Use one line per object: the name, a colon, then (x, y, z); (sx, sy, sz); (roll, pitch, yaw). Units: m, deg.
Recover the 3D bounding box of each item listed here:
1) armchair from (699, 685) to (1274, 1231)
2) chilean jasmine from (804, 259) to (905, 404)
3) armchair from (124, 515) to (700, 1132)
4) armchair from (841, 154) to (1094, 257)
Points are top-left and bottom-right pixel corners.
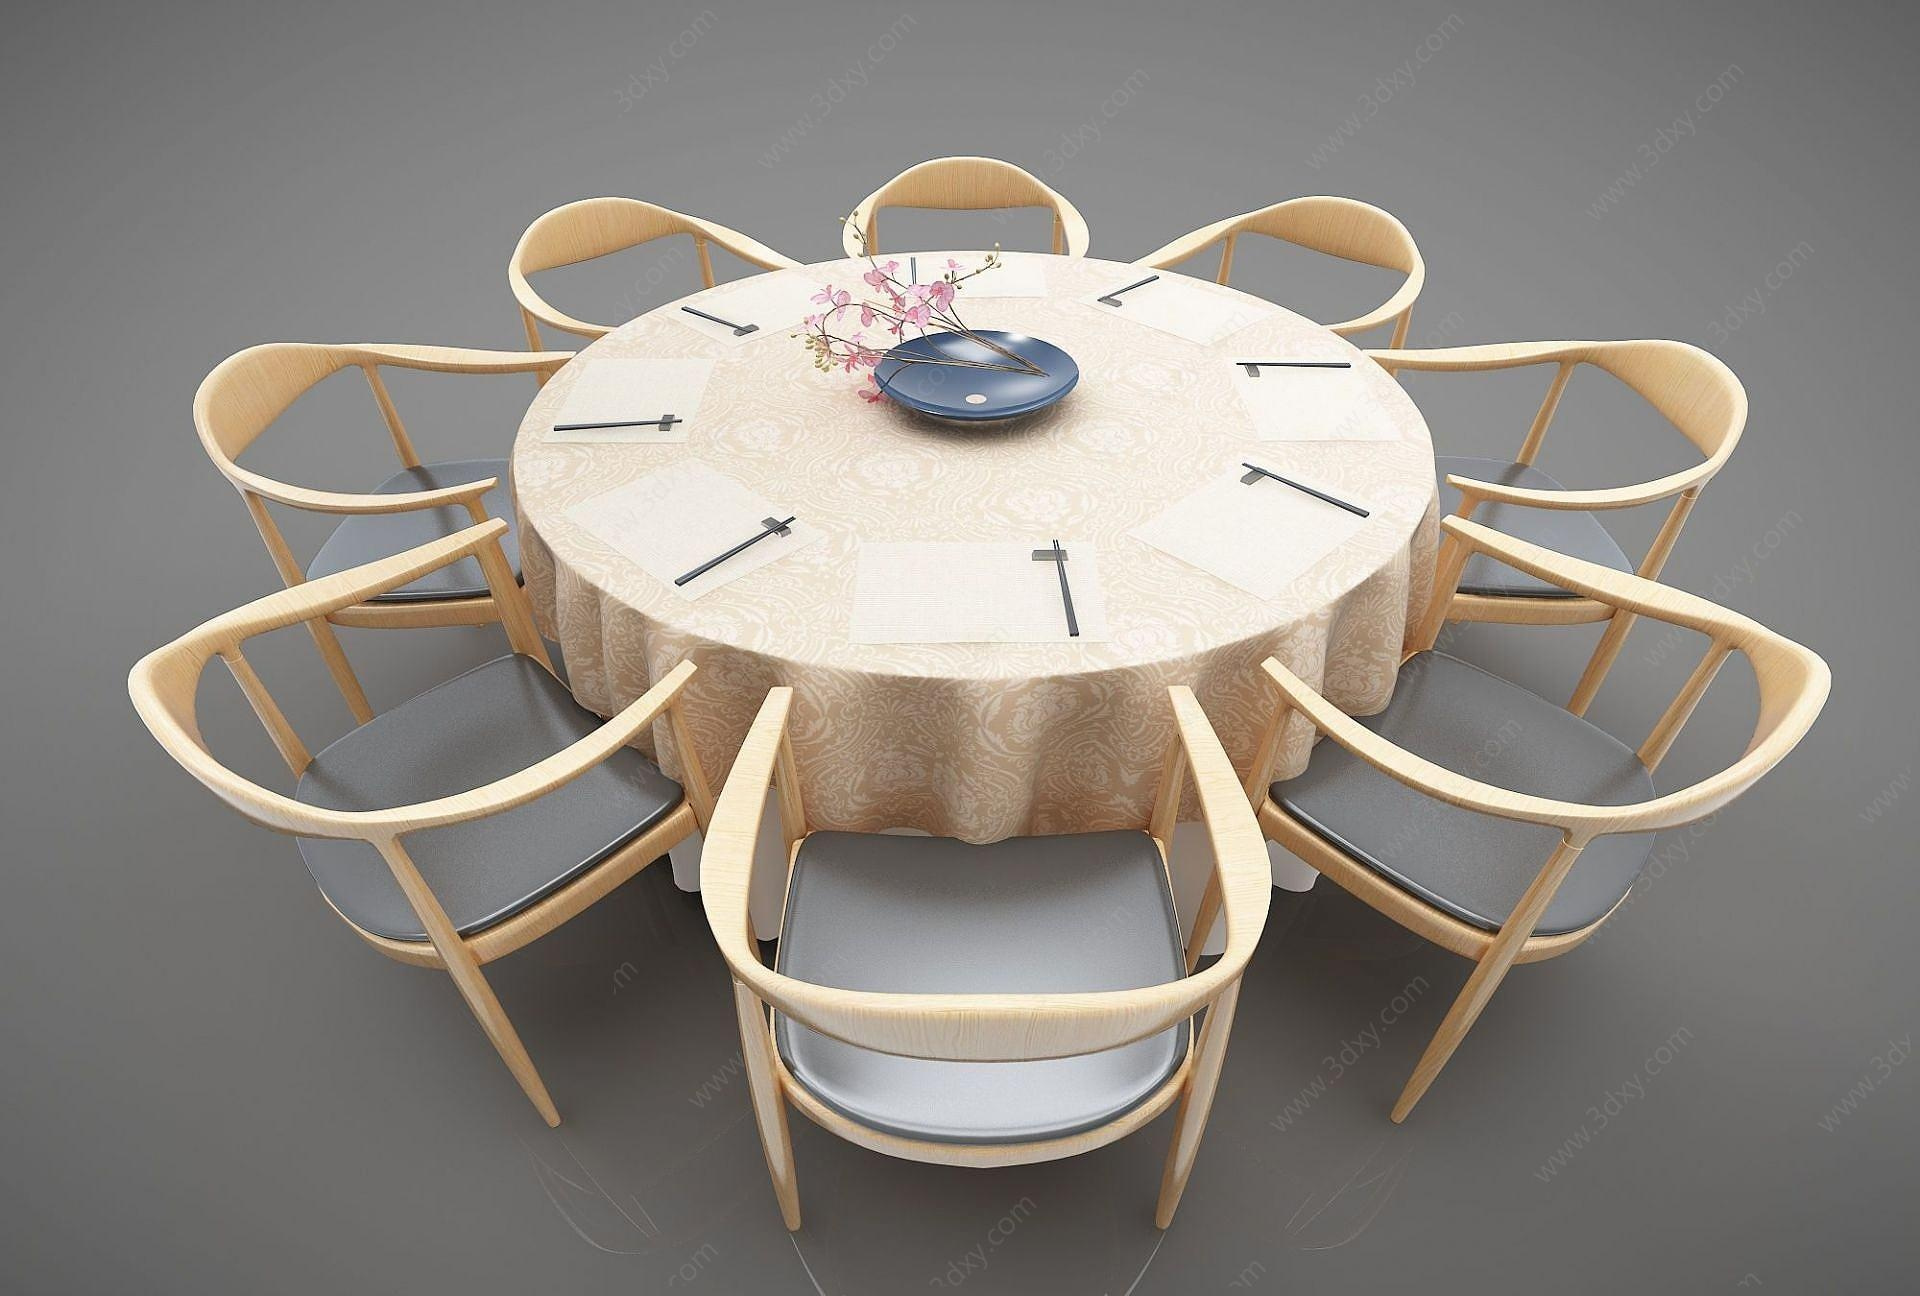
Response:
armchair: (0.039, 0.969, 4.326); (1.754, 1.812, 1.338); (1, 69, -1)
chilean jasmine: (-0.339, -1.058, 4.620); (0.400, 0.225, 0.482); (-8, 59, -7)
armchair: (-1.576, 0.585, 4.305); (0.992, 1.320, 1.066); (-35, 70, -17)
armchair: (0.058, -1.709, 5.644); (0.851, 0.263, 0.493); (4, 33, 6)
